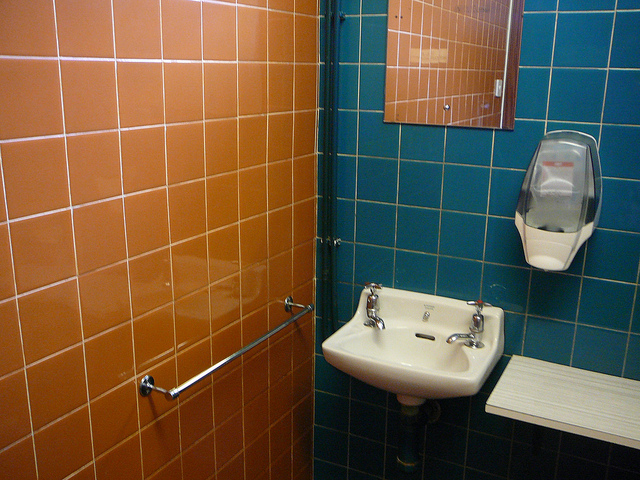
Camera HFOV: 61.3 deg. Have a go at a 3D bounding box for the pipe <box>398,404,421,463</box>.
[{"bbox_3d":[0.403,0.865,2.422,0.116,0.292,0.056,8,17,4],"label":"pipe"}]

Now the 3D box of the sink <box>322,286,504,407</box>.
[{"bbox_3d":[0.385,0.517,2.293,0.662,0.450,0.488,6,13,31],"label":"sink"}]

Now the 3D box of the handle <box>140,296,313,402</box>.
[{"bbox_3d":[-0.311,0.409,2.128,0.115,0.123,0.913,18,21,28],"label":"handle"}]

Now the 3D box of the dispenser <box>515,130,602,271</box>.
[{"bbox_3d":[0.919,-0.170,2.090,0.274,0.563,0.204,9,29,28],"label":"dispenser"}]

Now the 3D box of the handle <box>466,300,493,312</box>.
[{"bbox_3d":[0.675,0.276,2.288,0.104,0.043,0.071,15,20,15],"label":"handle"}]
